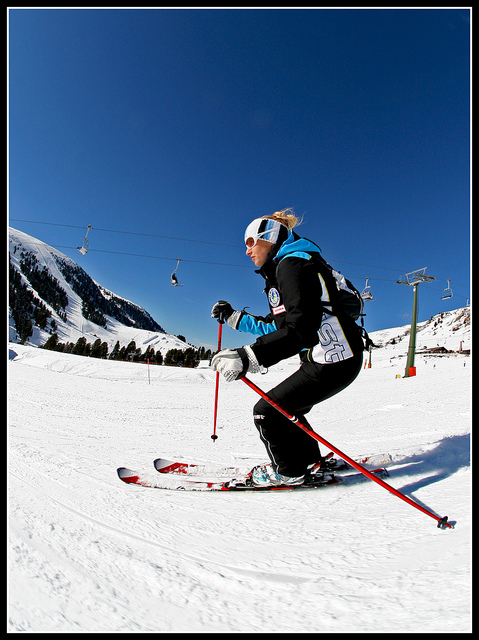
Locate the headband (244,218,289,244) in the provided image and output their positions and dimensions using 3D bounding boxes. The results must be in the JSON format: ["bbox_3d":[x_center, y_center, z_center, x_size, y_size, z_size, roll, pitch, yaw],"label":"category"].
[{"bbox_3d":[0.209,-0.654,3.612,0.318,0.209,0.245,-2,-3,2],"label":"headband"}]

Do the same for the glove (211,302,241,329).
[{"bbox_3d":[-0.094,-0.045,4.489,0.133,0.226,0.325,1,-4,-45],"label":"glove"}]

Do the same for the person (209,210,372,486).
[{"bbox_3d":[0.347,0.155,3.336,0.836,1.978,0.810,-4,-3,34],"label":"person"}]

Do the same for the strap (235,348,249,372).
[{"bbox_3d":[0.026,0.249,3.165,0.034,0.141,0.102,-5,11,-24],"label":"strap"}]

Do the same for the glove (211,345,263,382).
[{"bbox_3d":[-0.044,0.272,3.186,0.270,0.354,0.350,-2,2,-39],"label":"glove"}]

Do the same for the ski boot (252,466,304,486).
[{"bbox_3d":[0.297,1.085,3.564,0.379,0.168,0.139,1,-12,9],"label":"ski boot"}]
